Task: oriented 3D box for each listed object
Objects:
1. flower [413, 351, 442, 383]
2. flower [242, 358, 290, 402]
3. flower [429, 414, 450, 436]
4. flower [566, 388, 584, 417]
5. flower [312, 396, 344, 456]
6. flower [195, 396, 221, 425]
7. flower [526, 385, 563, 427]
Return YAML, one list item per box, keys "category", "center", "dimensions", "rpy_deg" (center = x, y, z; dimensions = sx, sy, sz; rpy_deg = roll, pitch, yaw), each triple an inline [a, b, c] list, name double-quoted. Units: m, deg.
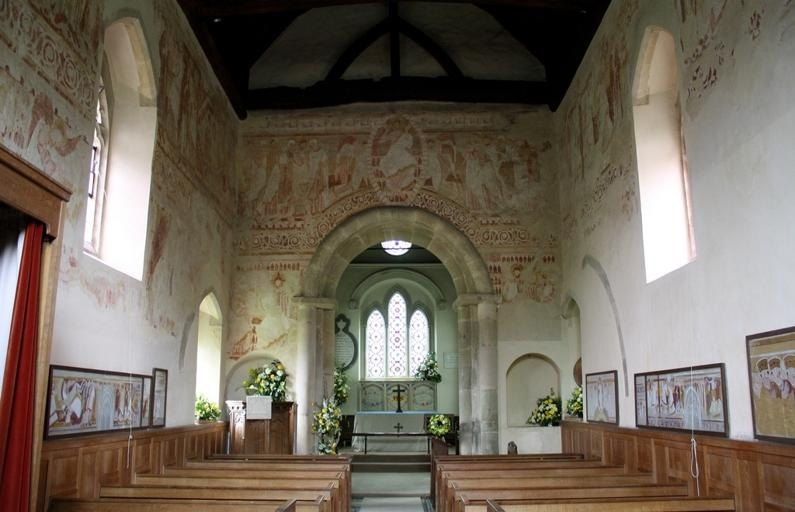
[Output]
- category: "flower"
  center: [1.241, 4.216, 20.966]
  dimensions: [0.998, 1.185, 0.917]
  rpy_deg: [7, -28, -4]
- category: "flower"
  center: [-3.228, 3.007, 14.014]
  dimensions: [1.075, 1.137, 0.922]
  rpy_deg: [5, -2, 1]
- category: "flower"
  center: [1.146, 4.739, 15.722]
  dimensions: [0.562, 0.598, 0.808]
  rpy_deg: [-2, -17, 1]
- category: "flower"
  center: [4.169, 3.449, 13.240]
  dimensions: [0.390, 0.727, 0.803]
  rpy_deg: [-6, -17, 15]
- category: "flower"
  center: [-1.761, 4.148, 13.782]
  dimensions: [0.684, 1.307, 0.832]
  rpy_deg: [1, -17, -9]
- category: "flower"
  center: [-4.342, 3.517, 12.810]
  dimensions: [0.523, 0.422, 0.610]
  rpy_deg: [3, -10, -9]
- category: "flower"
  center: [3.648, 3.762, 13.892]
  dimensions: [0.710, 0.834, 0.811]
  rpy_deg: [-1, -2, 28]
